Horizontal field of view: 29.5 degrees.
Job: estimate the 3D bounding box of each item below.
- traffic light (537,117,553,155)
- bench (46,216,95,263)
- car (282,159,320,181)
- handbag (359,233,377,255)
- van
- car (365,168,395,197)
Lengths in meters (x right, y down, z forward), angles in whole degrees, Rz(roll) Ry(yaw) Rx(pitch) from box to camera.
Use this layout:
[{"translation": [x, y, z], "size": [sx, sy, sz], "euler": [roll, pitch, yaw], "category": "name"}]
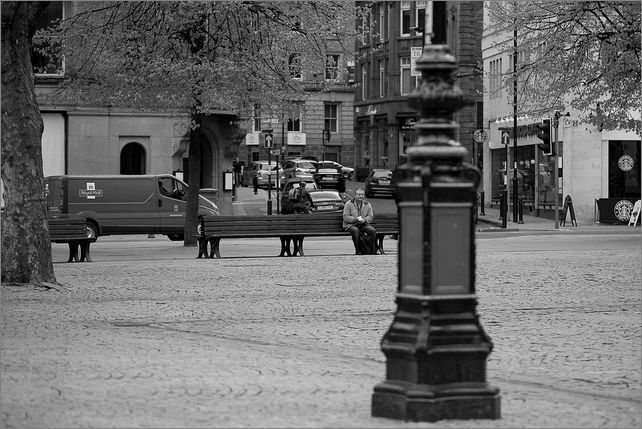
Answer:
[{"translation": [7.696, -2.663, 41.661], "size": [0.509, 1.173, 2.127], "euler": [-1, 2, 11], "category": "traffic light"}, {"translation": [-5.944, 0.614, 28.853], "size": [0.944, 1.010, 0.936], "euler": [-2, 2, -10], "category": "bench"}, {"translation": [-1.049, -2.273, 61.484], "size": [1.032, 0.725, 2.095], "euler": [0, 7, -18], "category": "car"}, {"translation": [1.152, 0.737, 30.164], "size": [0.409, 0.521, 0.310], "euler": [-19, 9, -2], "category": "handbag"}, {"translation": [-4.940, -0.346, 36.840], "size": [5.898, 1.915, 1.837], "euler": [0, 11, 26], "category": "van"}, {"translation": [2.797, -1.525, 58.277], "size": [1.370, 0.950, 2.802], "euler": [0, 6, 1], "category": "car"}]
